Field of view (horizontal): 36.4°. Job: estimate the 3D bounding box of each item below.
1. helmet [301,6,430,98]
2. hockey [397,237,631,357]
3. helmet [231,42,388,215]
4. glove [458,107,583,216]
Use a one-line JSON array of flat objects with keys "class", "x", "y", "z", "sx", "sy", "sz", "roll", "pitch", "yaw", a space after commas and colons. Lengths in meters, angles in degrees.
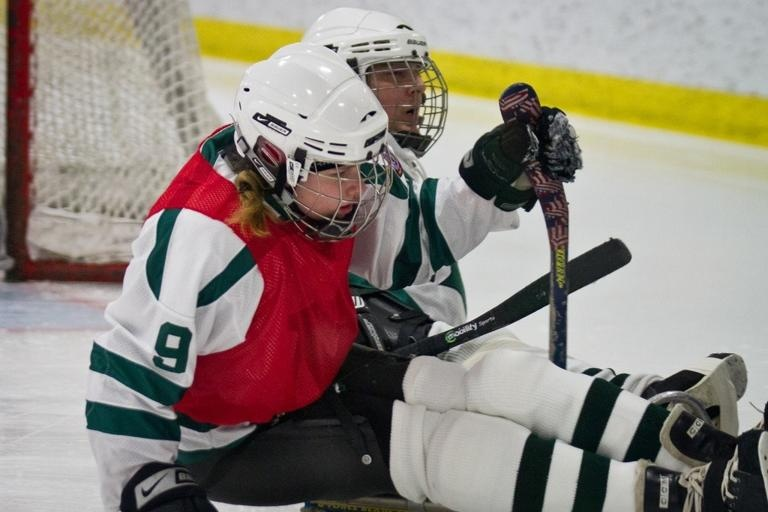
[{"class": "helmet", "x": -0.073, "y": -0.780, "z": 4.455, "sx": 0.389, "sy": 0.274, "sz": 0.297, "roll": 8, "pitch": 13, "yaw": 8}, {"class": "hockey", "x": 0.536, "y": 0.182, "z": 4.727, "sx": 0.120, "sy": 0.991, "sz": 0.102, "roll": 68, "pitch": 14, "yaw": 19}, {"class": "helmet", "x": -0.219, "y": -0.525, "z": 4.174, "sx": 0.603, "sy": 0.547, "sz": 0.475, "roll": 17, "pitch": 27, "yaw": 8}, {"class": "glove", "x": 0.535, "y": -0.338, "z": 4.358, "sx": 0.201, "sy": 0.440, "sz": 0.297, "roll": 31, "pitch": 47, "yaw": -55}]
